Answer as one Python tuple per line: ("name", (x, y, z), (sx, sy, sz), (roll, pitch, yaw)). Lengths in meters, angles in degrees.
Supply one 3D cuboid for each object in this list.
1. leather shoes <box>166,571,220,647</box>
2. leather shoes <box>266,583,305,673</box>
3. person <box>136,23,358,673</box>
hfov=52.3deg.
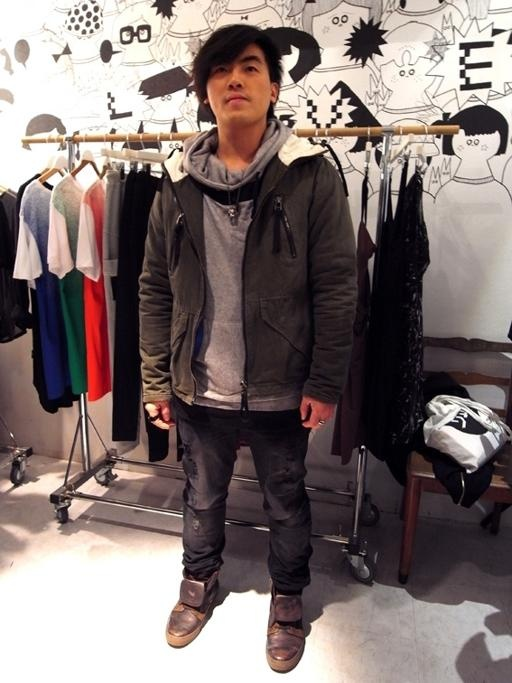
("leather shoes", (-0.199, 0.852, 1.646), (0.074, 0.115, 0.246), (4, 10, 10))
("leather shoes", (0.081, 0.871, 1.568), (0.069, 0.099, 0.230), (0, 11, 3))
("person", (-0.053, 0.059, 1.517), (0.668, 1.779, 0.285), (4, 10, 18))
